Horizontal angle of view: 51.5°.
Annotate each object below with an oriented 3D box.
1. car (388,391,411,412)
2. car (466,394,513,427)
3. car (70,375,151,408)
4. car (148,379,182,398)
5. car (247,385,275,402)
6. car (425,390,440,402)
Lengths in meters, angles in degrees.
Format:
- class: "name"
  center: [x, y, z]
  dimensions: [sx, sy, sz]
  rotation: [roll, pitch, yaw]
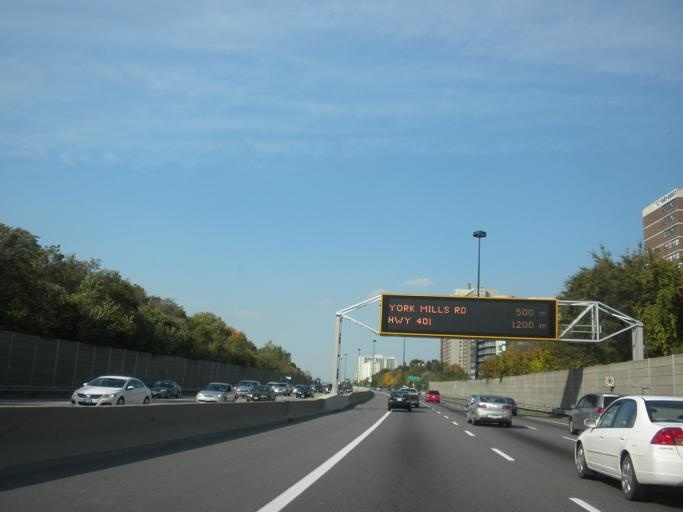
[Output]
- class: "car"
  center: [3.961, 9.827, 48.075]
  dimensions: [1.346, 1.261, 1.732]
  rotation: [7, -7, -29]
- class: "car"
  center: [7.215, 7.505, 34.497]
  dimensions: [1.761, 1.467, 2.119]
  rotation: [4, -7, 0]
- class: "car"
  center: [-9.642, 5.764, 30.531]
  dimensions: [1.889, 1.147, 3.258]
  rotation: [1, -7, 20]
- class: "car"
  center: [-12.499, 9.575, 50.822]
  dimensions: [1.086, 1.013, 2.750]
  rotation: [-3, -24, 6]
- class: "car"
  center: [-5.593, 9.862, 51.308]
  dimensions: [1.201, 1.011, 2.275]
  rotation: [1, -3, 5]
- class: "car"
  center: [10.512, 16.085, 81.174]
  dimensions: [1.197, 1.120, 2.092]
  rotation: [1, -3, 3]
